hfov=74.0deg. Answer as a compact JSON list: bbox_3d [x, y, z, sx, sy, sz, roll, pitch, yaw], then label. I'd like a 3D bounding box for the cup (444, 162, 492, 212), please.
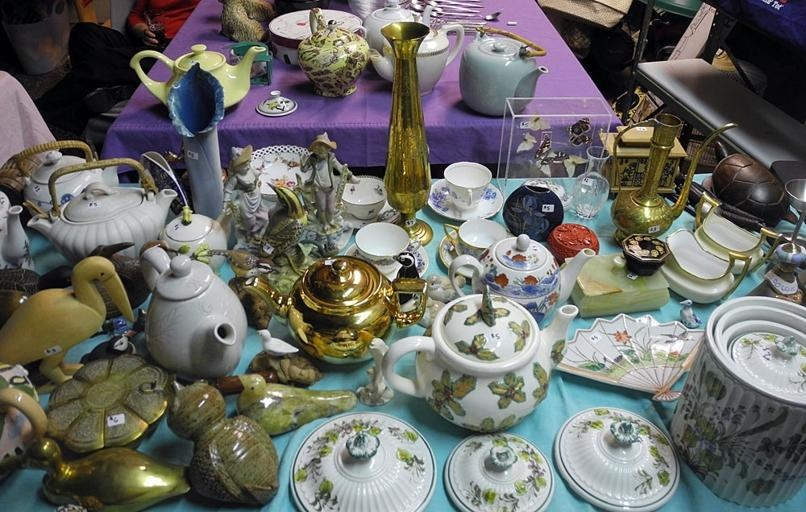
[{"bbox_3d":[0.280,-0.334,2.473,0.165,0.126,0.245,2,42,1],"label":"cup"}]

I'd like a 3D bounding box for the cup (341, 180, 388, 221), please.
[{"bbox_3d":[-0.173,-0.258,2.353,0.181,0.116,0.188,0,52,0],"label":"cup"}]

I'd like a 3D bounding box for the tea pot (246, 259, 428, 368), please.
[{"bbox_3d":[-0.203,0.164,1.801,0.521,0.298,0.361,1,50,-2],"label":"tea pot"}]

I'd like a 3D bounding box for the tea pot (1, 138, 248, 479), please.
[{"bbox_3d":[-1.039,0.111,2.155,0.760,0.834,1.168,-1,46,-9],"label":"tea pot"}]

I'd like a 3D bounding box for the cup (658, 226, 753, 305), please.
[{"bbox_3d":[1.142,0.050,2.161,0.226,0.246,0.336,-36,54,-16],"label":"cup"}]

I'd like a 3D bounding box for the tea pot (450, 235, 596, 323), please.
[{"bbox_3d":[0.412,0.058,1.873,0.493,0.341,0.316,-4,46,0],"label":"tea pot"}]

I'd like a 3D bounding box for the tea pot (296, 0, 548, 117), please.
[{"bbox_3d":[0.199,-0.949,2.796,0.922,0.391,0.535,4,47,0],"label":"tea pot"}]

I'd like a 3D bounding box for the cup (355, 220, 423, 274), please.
[{"bbox_3d":[-0.070,-0.056,2.107,0.258,0.105,0.179,25,53,11],"label":"cup"}]

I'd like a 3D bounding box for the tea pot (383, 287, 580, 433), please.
[{"bbox_3d":[0.218,0.316,1.703,0.502,0.403,0.308,17,43,11],"label":"tea pot"}]
